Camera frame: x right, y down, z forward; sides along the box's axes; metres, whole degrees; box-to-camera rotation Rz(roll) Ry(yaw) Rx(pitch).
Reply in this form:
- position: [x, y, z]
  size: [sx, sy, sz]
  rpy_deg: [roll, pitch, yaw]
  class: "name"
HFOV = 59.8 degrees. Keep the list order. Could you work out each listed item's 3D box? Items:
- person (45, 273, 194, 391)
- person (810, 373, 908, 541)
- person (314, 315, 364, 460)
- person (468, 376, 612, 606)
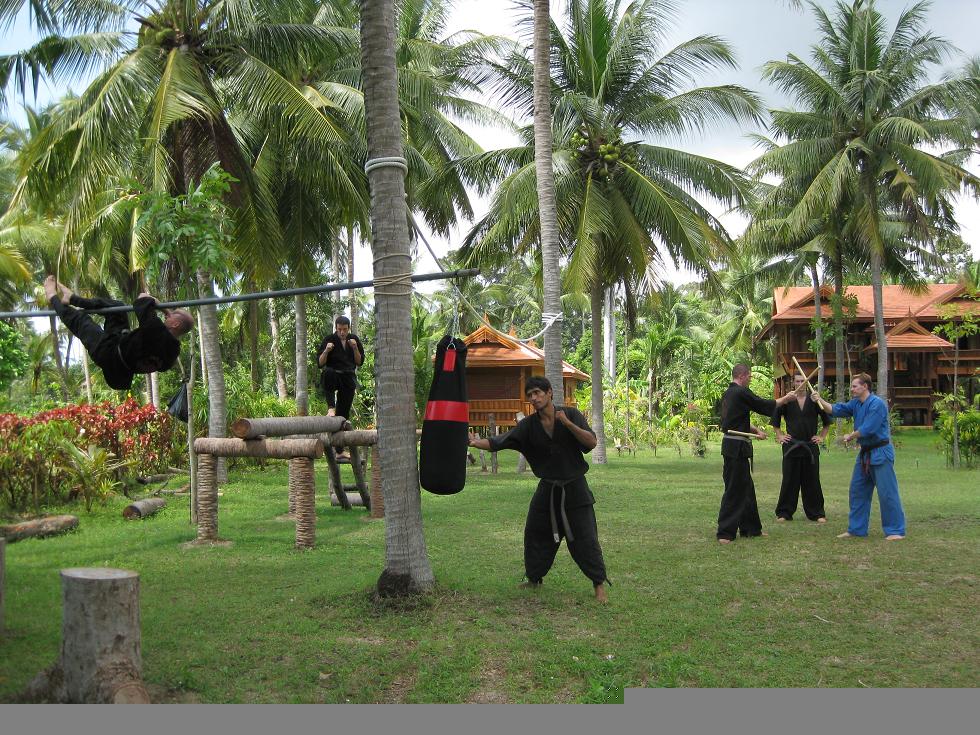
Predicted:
- position: [-3.807, -0.361, 8.828]
  size: [1.488, 1.201, 0.433]
  rpy_deg: [0, 5, 17]
  class: "person"
- position: [5.089, 1.194, 11.596]
  size: [1.042, 2.183, 1.455]
  rpy_deg: [1, 6, 24]
  class: "person"
- position: [-2.246, 0.023, 12.855]
  size: [0.646, 1.617, 1.426]
  rpy_deg: [-2, 5, -10]
  class: "person"
- position: [0.673, 1.262, 9.278]
  size: [1.159, 2.353, 0.528]
  rpy_deg: [0, 5, 10]
  class: "person"
